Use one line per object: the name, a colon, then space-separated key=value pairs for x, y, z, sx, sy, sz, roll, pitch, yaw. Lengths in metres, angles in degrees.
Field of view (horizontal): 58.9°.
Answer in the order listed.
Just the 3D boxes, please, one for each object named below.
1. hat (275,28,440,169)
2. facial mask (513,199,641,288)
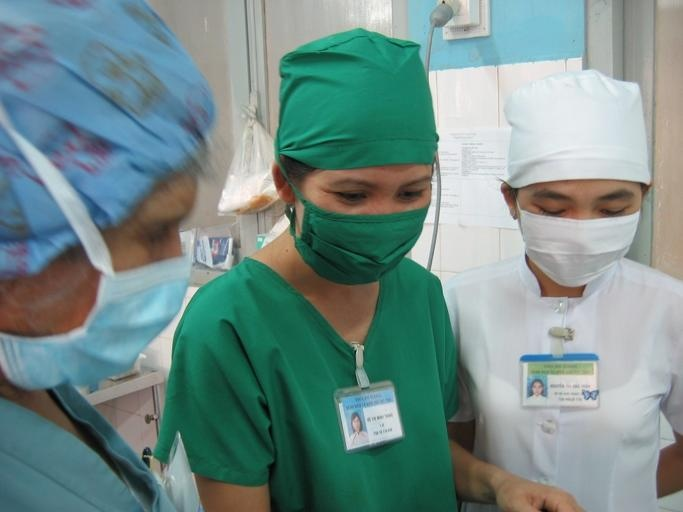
hat: x=0.031 y=-0.307 z=1.290 sx=0.306 sy=0.308 sz=0.311 roll=-7 pitch=18 yaw=-1
facial mask: x=0.636 y=-0.069 z=1.614 sx=0.301 sy=0.205 sz=0.353 roll=0 pitch=30 yaw=12
